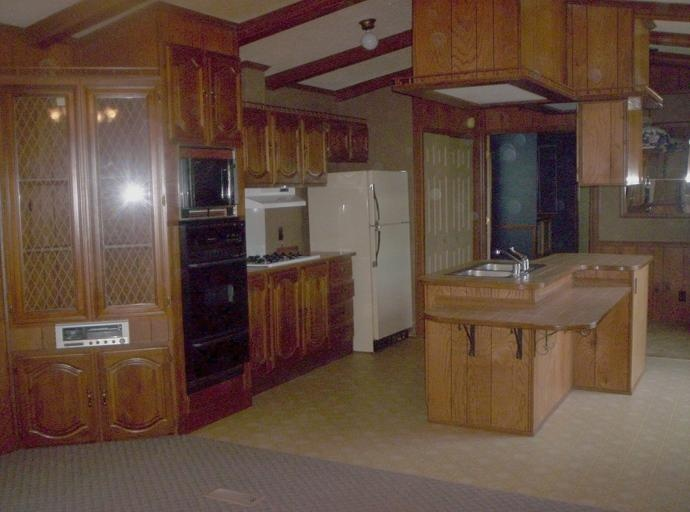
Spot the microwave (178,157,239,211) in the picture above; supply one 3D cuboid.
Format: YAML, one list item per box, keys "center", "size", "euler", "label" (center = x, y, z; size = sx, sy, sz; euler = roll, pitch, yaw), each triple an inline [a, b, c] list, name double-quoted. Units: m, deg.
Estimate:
- center: [-1.188, -0.620, 4.828]
  size: [0.530, 0.425, 0.248]
  euler: [-9, 17, -42]
  label: "microwave"

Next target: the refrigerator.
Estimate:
- center: [0.200, 0.089, 7.263]
  size: [1.117, 2.095, 1.221]
  euler: [-2, 1, 37]
  label: "refrigerator"

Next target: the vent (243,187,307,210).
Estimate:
- center: [-0.784, -0.605, 5.989]
  size: [0.577, 0.249, 0.186]
  euler: [-1, 10, -37]
  label: "vent"

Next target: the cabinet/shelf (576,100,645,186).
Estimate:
- center: [2.702, -1.162, 6.166]
  size: [0.771, 1.147, 0.793]
  euler: [0, 4, 16]
  label: "cabinet/shelf"

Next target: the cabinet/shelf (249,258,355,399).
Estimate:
- center: [-0.489, 0.755, 5.879]
  size: [0.439, 0.773, 1.279]
  euler: [0, 6, 25]
  label: "cabinet/shelf"
